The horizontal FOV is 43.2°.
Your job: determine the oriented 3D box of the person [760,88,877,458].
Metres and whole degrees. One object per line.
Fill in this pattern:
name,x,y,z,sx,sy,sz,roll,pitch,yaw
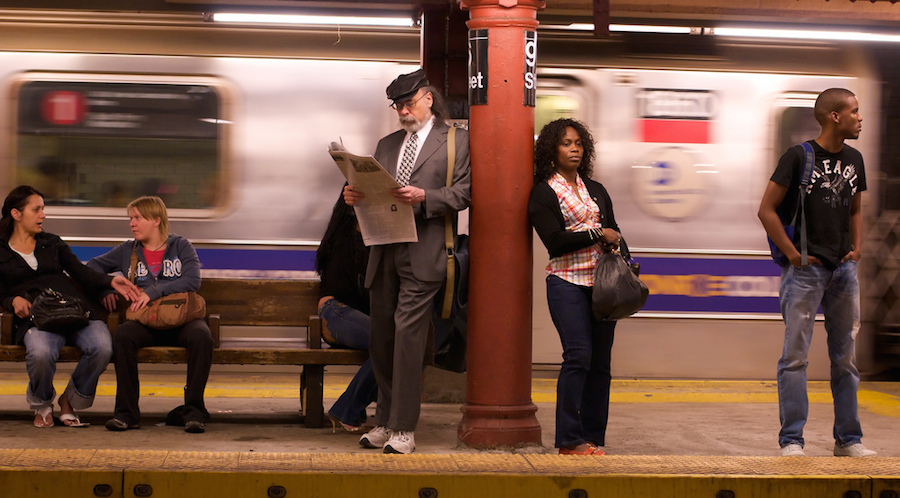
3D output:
person,3.397,0.226,10.421,1.018,3.402,0.664,-2,8,-20

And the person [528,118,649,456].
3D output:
person,1.231,0.363,10.451,0.906,3.124,0.895,-2,8,-21

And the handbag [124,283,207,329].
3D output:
handbag,-2.747,0.558,11.063,0.579,0.190,0.408,-4,3,0

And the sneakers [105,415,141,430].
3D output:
sneakers,-3.193,1.673,10.983,0.308,0.110,0.128,13,-16,-35

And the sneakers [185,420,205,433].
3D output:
sneakers,-2.473,1.714,11.012,0.133,0.065,0.154,0,1,-1

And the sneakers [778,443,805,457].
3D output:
sneakers,3.139,1.839,10.389,0.238,0.077,0.102,-6,-5,32

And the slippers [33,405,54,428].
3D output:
slippers,-3.981,1.609,11.082,0.186,0.191,0.252,-1,7,-19

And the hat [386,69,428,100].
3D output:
hat,-0.381,-1.538,10.529,0.360,0.117,0.286,-34,17,-34

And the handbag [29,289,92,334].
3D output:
handbag,-3.802,0.613,10.996,0.473,0.380,0.247,-1,-23,-36

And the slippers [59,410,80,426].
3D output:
slippers,-3.709,1.642,11.096,0.233,0.128,0.237,-1,7,-18

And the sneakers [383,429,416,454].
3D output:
sneakers,-0.468,1.780,10.366,0.297,0.229,0.582,1,7,-1

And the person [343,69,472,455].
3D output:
person,-0.396,0.101,10.541,0.769,3.520,0.969,8,10,42

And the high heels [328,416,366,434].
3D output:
high heels,-1.024,1.726,11.185,0.327,0.120,0.164,-7,-6,8

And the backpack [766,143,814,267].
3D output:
backpack,3.219,-0.486,10.384,0.251,1.007,0.270,0,7,-7
